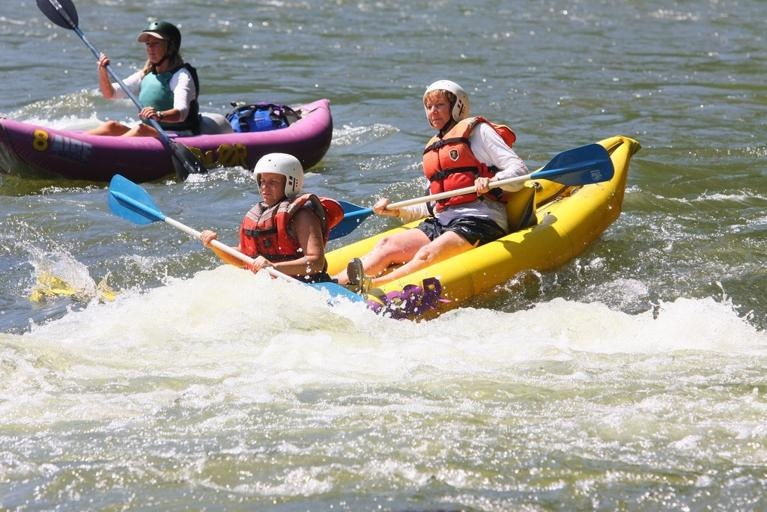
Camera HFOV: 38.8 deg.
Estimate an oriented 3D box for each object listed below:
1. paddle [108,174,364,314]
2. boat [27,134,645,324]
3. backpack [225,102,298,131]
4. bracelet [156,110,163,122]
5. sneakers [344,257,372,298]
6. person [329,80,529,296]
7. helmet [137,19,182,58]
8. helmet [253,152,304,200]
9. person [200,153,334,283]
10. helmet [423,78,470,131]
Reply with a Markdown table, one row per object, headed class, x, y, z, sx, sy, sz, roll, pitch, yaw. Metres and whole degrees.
| class | x | y | z | sx | sy | sz | roll | pitch | yaw |
| --- | --- | --- | --- | --- | --- | --- | --- | --- | --- |
| paddle | -1.355 | -0.067 | 9.798 | 3.178 | 0.376 | 0.235 | 22 | 38 | 26 |
| boat | -0.513 | -0.208 | 10.142 | 4.170 | 0.601 | 1.177 | -15 | 16 | -29 |
| backpack | -1.455 | -1.665 | 13.093 | 0.626 | 0.199 | 0.640 | -3 | 5 | -2 |
| bracelet | -2.495 | -1.577 | 12.213 | 0.072 | 0.078 | 0.034 | 13 | 6 | 35 |
| sneakers | -0.216 | 0.175 | 9.232 | 0.146 | 0.323 | 0.255 | 4 | 10 | 29 |
| person | 0.432 | -0.717 | 9.786 | 1.704 | 1.580 | 0.903 | -14 | 24 | -26 |
| helmet | -2.473 | -2.429 | 12.211 | 0.288 | 0.408 | 0.515 | 10 | 24 | 31 |
| helmet | -0.776 | -0.709 | 9.259 | 0.476 | 0.305 | 0.346 | -15 | 22 | -37 |
| person | -0.784 | -0.304 | 9.178 | 0.892 | 1.075 | 0.554 | -4 | 22 | -2 |
| helmet | 0.681 | -1.400 | 10.102 | 0.475 | 0.455 | 0.499 | 2 | 5 | 5 |
